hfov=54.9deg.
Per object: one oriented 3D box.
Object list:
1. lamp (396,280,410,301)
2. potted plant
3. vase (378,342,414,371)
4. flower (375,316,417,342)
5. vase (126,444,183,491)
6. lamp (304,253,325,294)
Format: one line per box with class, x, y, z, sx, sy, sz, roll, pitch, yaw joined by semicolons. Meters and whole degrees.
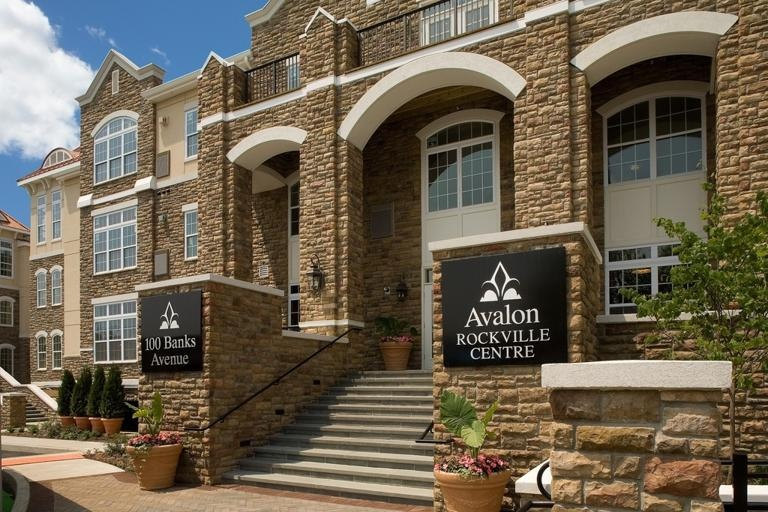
lamp;0.580;1.032;22.522;0.431;0.693;0.255;-5;-12;13
potted plant;-9.856;4.924;24.984;2.035;1.684;0.788;-9;-16;37
vase;0.399;2.954;21.836;0.848;0.600;0.837;0;-16;1
flower;0.370;2.247;22.080;0.875;0.527;0.818;0;-9;9
vase;-5.387;4.960;17.507;1.056;0.781;1.051;-4;-11;20
lamp;-2.004;0.515;21.502;0.576;1.183;0.302;-9;-13;30
